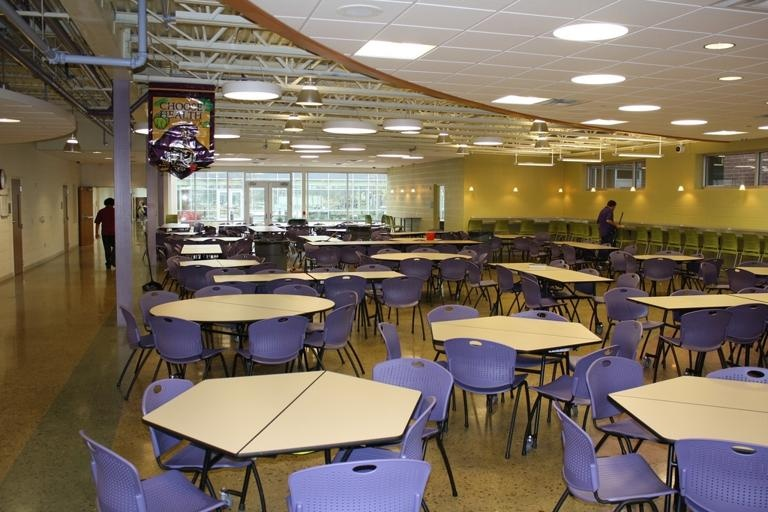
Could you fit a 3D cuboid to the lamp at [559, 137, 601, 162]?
[{"bbox_3d":[7.552,-4.216,20.936,1.621,0.353,1.501,-1,0,-5],"label":"lamp"}]
